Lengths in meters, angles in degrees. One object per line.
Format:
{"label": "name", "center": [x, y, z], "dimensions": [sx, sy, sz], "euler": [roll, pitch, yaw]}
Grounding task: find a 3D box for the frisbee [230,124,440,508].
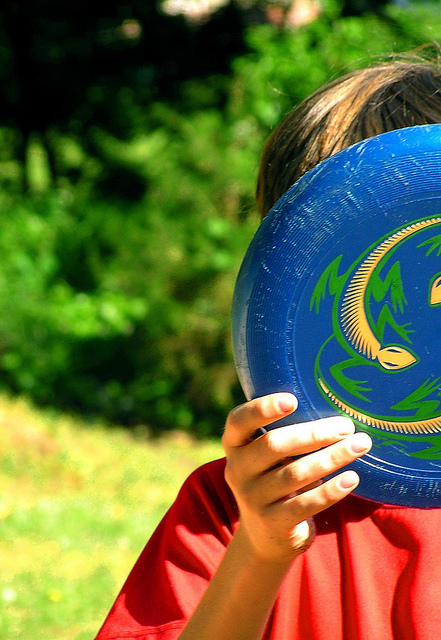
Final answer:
{"label": "frisbee", "center": [0.170, 0.006, 1.017], "dimensions": [0.306, 0.550, 0.194], "euler": [-3, 23, -1]}
